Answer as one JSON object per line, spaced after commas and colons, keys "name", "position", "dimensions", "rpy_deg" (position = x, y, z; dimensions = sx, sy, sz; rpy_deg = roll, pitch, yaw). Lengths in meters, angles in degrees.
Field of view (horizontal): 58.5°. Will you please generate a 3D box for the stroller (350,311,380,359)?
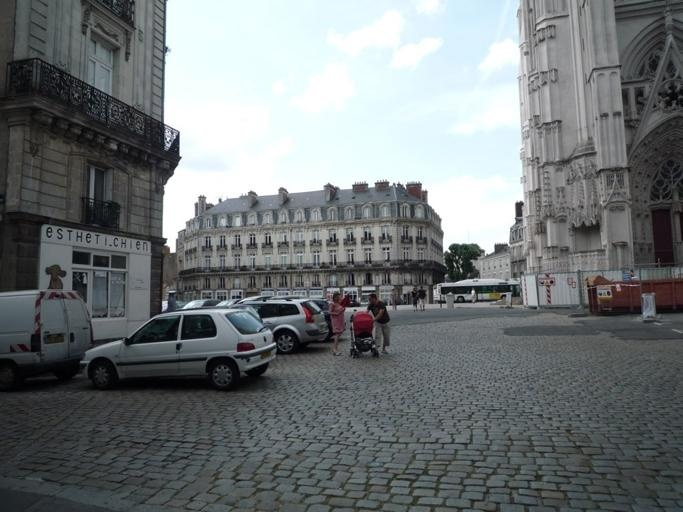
{"name": "stroller", "position": [0.682, 2.337, 18.014], "dimensions": [0.839, 1.371, 0.977], "rpy_deg": [-1, 3, 3]}
